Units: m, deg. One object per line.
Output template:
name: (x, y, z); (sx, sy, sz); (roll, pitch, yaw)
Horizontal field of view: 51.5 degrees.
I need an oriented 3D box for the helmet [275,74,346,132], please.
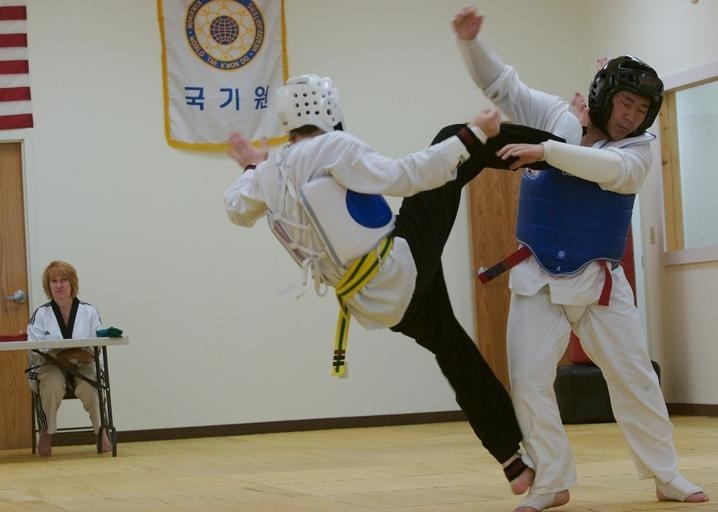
helmet: (-0.228, -0.682, 3.534); (0.321, 0.319, 0.254); (-4, 7, -28)
